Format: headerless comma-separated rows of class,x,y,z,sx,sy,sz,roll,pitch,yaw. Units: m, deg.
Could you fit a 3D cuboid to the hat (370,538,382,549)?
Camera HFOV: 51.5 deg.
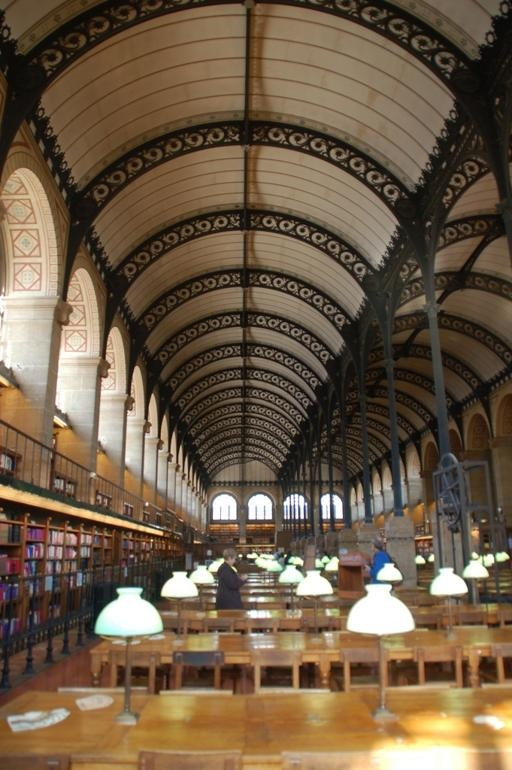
hat,1.795,2.403,7.991,0.124,0.162,0.168,6,1,2
